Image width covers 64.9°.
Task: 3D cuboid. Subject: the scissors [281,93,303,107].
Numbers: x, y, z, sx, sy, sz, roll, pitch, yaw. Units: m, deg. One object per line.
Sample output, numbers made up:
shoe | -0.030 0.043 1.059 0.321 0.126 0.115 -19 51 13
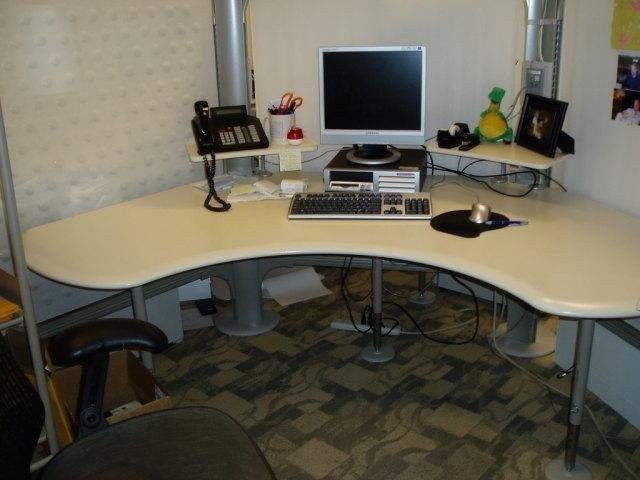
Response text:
scissors | -0.160 -0.732 2.638 0.148 0.037 0.155 11 29 20

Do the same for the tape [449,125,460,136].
tape | 0.623 -0.516 2.353 0.038 0.023 0.055 -1 42 16

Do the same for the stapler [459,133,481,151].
stapler | 0.696 -0.463 2.352 0.048 0.066 0.183 6 24 37

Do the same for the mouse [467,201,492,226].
mouse | 0.664 -0.112 2.114 0.086 0.068 0.077 16 -1 22

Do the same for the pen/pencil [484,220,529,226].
pen/pencil | 0.752 -0.070 2.053 0.162 0.019 0.019 1 4 -1

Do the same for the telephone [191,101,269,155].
telephone | -0.433 -0.549 2.389 0.328 0.142 0.281 -8 47 -20

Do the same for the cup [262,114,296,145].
cup | -0.206 -0.569 2.519 0.151 0.132 0.121 -22 31 -37

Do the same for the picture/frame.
picture/frame | 0.992 -0.506 2.256 0.100 0.241 0.256 2 25 -14

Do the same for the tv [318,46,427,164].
tv | 0.247 -0.638 2.363 0.493 0.508 0.255 3 24 14
